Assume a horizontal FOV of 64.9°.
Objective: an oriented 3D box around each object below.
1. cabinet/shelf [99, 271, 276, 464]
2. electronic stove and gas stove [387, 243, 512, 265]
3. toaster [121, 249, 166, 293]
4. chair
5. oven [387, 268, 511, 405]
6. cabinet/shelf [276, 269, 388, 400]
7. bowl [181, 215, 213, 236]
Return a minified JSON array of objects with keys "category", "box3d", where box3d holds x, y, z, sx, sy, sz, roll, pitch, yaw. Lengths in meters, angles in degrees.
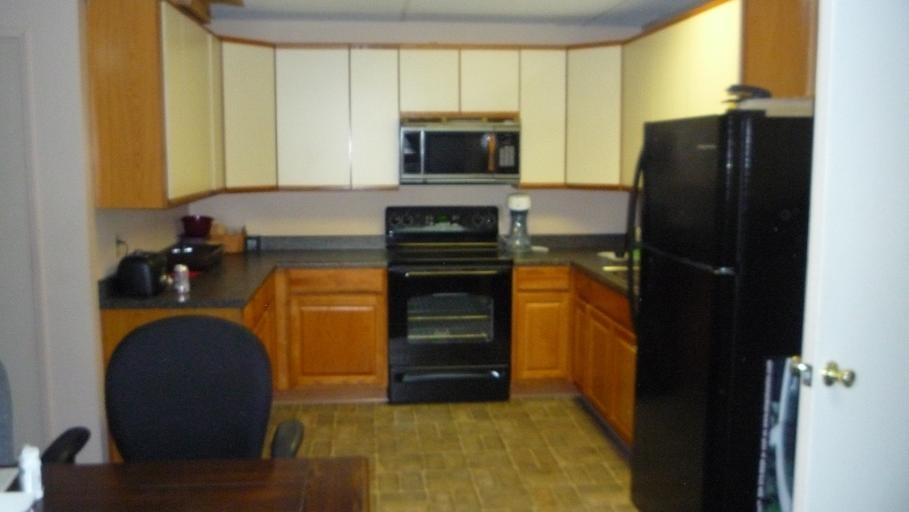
[{"category":"cabinet/shelf","box3d":[-1.257,0.552,3.604,0.769,1.011,0.718,-1,17,-11]},{"category":"electronic stove and gas stove","box3d":[-0.051,-0.012,5.653,0.942,0.085,0.566,-2,10,-4]},{"category":"toaster","box3d":[-2.001,0.115,4.591,0.288,0.226,0.364,-1,12,-11]},{"category":"chair","box3d":[-1.253,0.674,3.684,1.009,1.095,0.733,2,10,-6]},{"category":"oven","box3d":[-0.029,0.552,5.878,1.368,1.323,0.996,0,-1,-2]},{"category":"cabinet/shelf","box3d":[-0.899,0.577,5.813,1.234,1.199,0.873,0,1,-3]},{"category":"bowl","box3d":[-1.980,-0.227,5.508,0.199,0.127,0.196,1,8,0]}]
